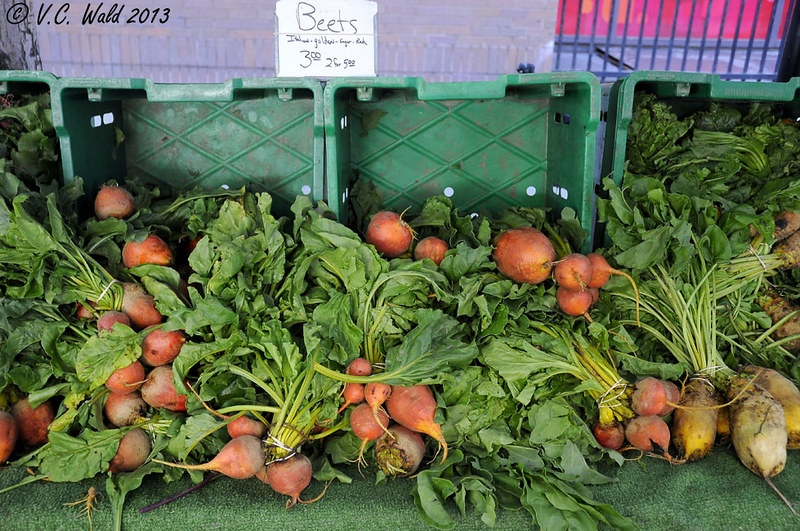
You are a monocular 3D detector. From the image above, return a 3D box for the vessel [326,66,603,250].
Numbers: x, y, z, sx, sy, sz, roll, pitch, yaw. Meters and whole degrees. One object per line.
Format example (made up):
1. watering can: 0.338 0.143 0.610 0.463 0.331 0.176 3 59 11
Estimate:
1. vessel: 0.294 -0.550 2.866 1.086 0.815 0.819 1 12 3
